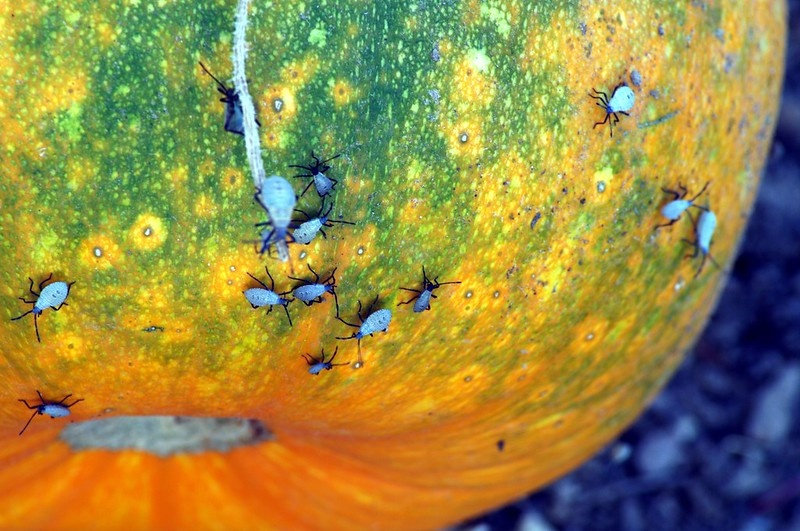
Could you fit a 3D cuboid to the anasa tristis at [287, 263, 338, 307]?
[{"bbox_3d":[-0.818,0.218,7.182,0.351,0.366,0.102,-11,25,-20],"label":"anasa tristis"}]
